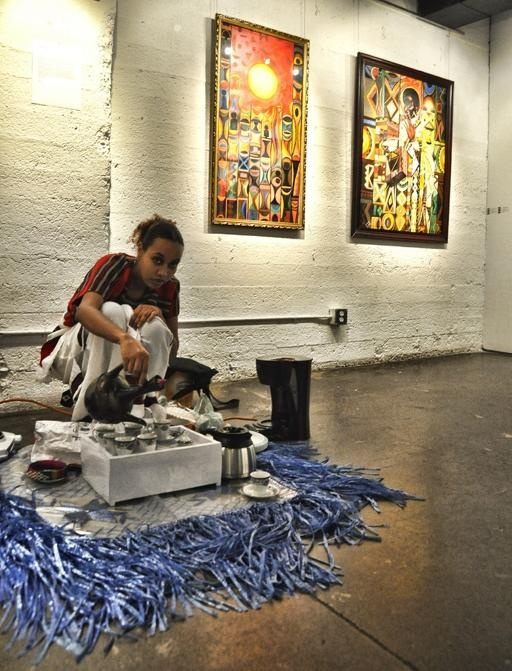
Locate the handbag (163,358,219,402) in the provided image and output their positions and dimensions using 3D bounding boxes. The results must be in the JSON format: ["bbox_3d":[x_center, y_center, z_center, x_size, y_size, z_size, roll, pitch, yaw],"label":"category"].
[{"bbox_3d":[-0.327,0.232,2.502,0.260,0.231,0.180,16,-14,-25],"label":"handbag"}]

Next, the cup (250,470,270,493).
[{"bbox_3d":[0.009,0.383,1.324,0.048,0.036,0.045,-1,7,0],"label":"cup"}]

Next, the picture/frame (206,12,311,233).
[{"bbox_3d":[0.034,-1.506,3.674,0.846,1.480,0.107,2,2,-32],"label":"picture/frame"}]

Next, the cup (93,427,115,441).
[{"bbox_3d":[-0.400,0.254,1.298,0.048,0.043,0.047,1,5,0],"label":"cup"}]

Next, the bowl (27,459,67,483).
[{"bbox_3d":[-0.608,0.375,1.424,0.071,0.026,0.070,0,5,0],"label":"bowl"}]

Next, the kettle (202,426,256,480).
[{"bbox_3d":[-0.083,0.358,1.524,0.159,0.131,0.118,-1,-1,-5],"label":"kettle"}]

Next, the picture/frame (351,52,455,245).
[{"bbox_3d":[1.349,-1.630,4.535,1.330,1.306,0.109,1,2,-34],"label":"picture/frame"}]

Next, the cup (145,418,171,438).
[{"bbox_3d":[-0.283,0.257,1.405,0.057,0.052,0.048,4,-3,-37],"label":"cup"}]

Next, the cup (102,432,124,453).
[{"bbox_3d":[-0.363,0.264,1.257,0.047,0.042,0.048,1,1,0],"label":"cup"}]

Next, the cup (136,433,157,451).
[{"bbox_3d":[-0.287,0.273,1.296,0.044,0.039,0.044,1,-3,0],"label":"cup"}]

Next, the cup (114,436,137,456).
[{"bbox_3d":[-0.330,0.273,1.252,0.047,0.040,0.047,1,-5,0],"label":"cup"}]

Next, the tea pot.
[{"bbox_3d":[-0.373,0.170,1.354,0.165,0.180,0.261,2,2,-27],"label":"tea pot"}]
